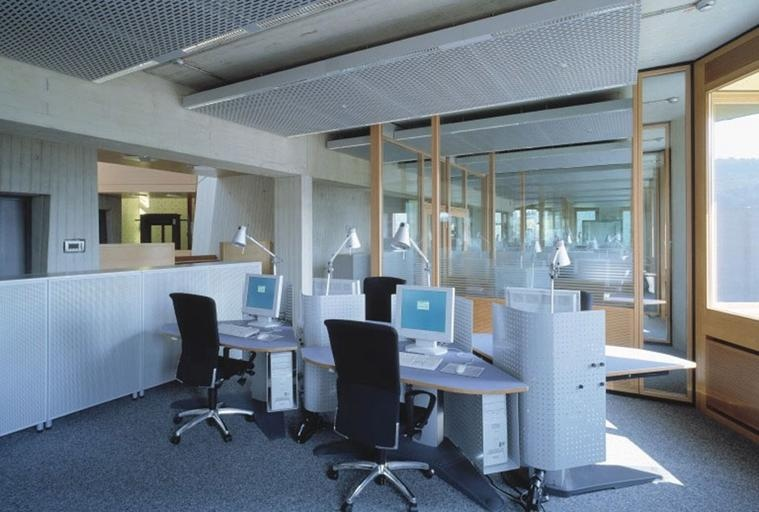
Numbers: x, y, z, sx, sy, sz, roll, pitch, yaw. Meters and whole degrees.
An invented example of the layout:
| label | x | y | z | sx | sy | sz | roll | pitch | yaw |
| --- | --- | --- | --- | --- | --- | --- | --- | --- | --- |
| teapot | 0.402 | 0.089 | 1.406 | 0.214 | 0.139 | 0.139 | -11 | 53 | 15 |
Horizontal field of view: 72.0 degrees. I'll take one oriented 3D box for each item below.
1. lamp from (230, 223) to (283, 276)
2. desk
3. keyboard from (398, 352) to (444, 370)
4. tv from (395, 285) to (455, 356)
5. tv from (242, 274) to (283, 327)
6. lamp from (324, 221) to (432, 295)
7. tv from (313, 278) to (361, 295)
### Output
| label | x | y | z | sx | sy | sz | roll | pitch | yaw |
| --- | --- | --- | --- | --- | --- | --- | --- | --- | --- |
| lamp | -1.878 | -0.049 | 8.145 | 0.579 | 0.680 | 3.972 | 1 | 1 | -12 |
| desk | 0.441 | 1.275 | 5.333 | 5.042 | 0.885 | 1.572 | 1 | 1 | 19 |
| keyboard | 0.390 | 0.994 | 4.957 | 0.409 | 0.088 | 0.333 | 1 | 1 | 8 |
| tv | 0.507 | 0.627 | 5.292 | 0.691 | 0.641 | 0.381 | 1 | -1 | 38 |
| tv | -1.375 | 0.515 | 6.069 | 0.641 | 0.683 | 0.391 | -2 | -4 | 29 |
| lamp | -0.027 | 0.052 | 7.539 | 1.235 | 0.749 | 0.490 | 1 | -4 | 1 |
| tv | -0.494 | 0.350 | 5.889 | 0.521 | 0.174 | 0.438 | 1 | 1 | -6 |
